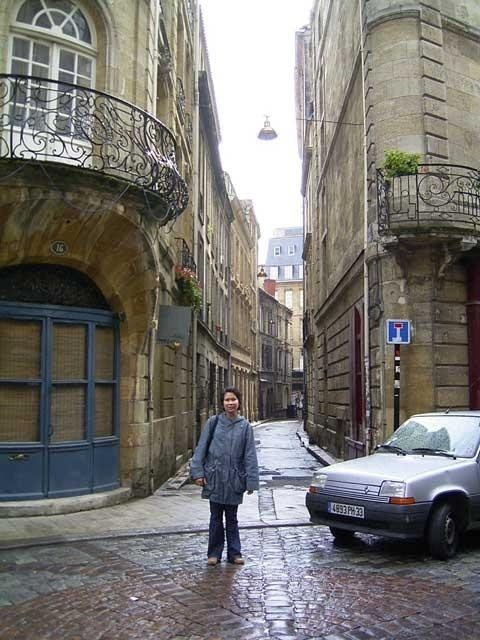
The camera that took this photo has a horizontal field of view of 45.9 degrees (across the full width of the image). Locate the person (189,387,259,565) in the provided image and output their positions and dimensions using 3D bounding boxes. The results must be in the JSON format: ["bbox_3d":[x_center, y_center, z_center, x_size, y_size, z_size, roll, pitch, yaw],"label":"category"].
[{"bbox_3d":[-0.146,1.449,5.259,0.612,1.598,0.476,1,-6,-7],"label":"person"}]

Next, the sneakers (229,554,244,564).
[{"bbox_3d":[-0.025,2.167,5.053,0.048,0.083,0.161,5,-22,-25],"label":"sneakers"}]
